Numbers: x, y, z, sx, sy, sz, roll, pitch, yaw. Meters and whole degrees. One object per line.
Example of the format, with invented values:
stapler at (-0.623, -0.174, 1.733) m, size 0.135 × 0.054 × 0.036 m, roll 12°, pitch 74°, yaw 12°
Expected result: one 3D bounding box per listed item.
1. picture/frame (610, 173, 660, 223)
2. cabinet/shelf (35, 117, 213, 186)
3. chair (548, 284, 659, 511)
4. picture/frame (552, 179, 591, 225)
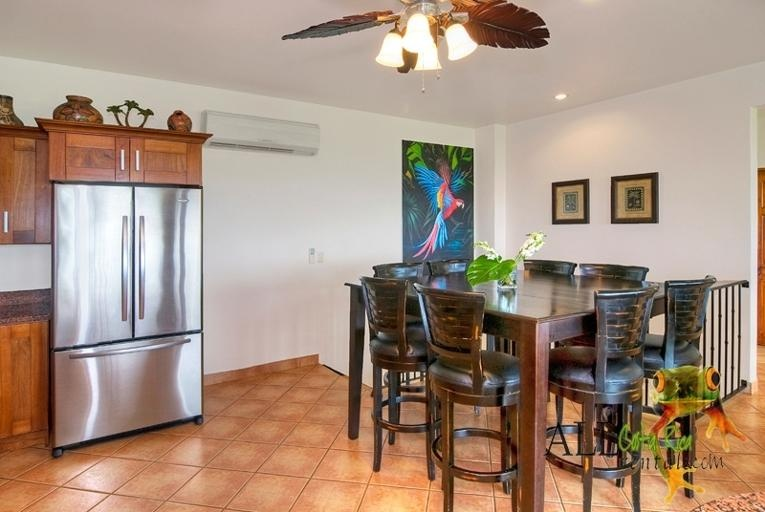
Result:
picture/frame at (2.857, -0.657, 6.224) m, size 0.064 × 0.776 × 0.633 m, roll 1°, pitch 0°, yaw -44°
cabinet/shelf at (-2.310, -0.910, 5.016) m, size 1.373 × 0.476 × 0.415 m, roll -3°, pitch 13°, yaw -38°
chair at (1.590, 1.030, 4.013) m, size 0.605 × 1.675 × 0.746 m, roll 5°, pitch 6°, yaw 42°
picture/frame at (2.333, -0.666, 6.786) m, size 0.060 × 0.711 × 0.625 m, roll 3°, pitch -2°, yaw -40°
